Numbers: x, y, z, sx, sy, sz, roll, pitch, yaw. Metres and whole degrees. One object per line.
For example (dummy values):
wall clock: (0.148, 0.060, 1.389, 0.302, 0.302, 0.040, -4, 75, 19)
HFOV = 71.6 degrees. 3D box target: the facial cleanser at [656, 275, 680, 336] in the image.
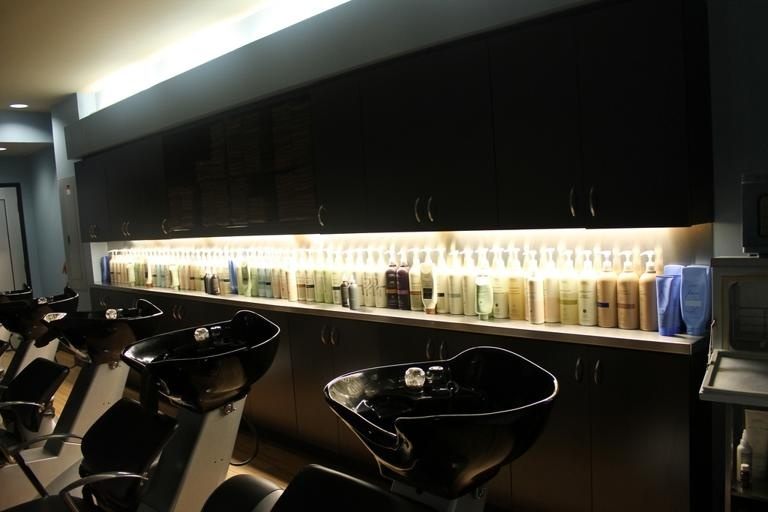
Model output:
facial cleanser: (1.524, 0.262, 2.834, 0.113, 0.314, 0.082, -2, 1, 24)

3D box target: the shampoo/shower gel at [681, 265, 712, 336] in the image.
shampoo/shower gel: (1.645, 0.236, 2.796, 0.148, 0.363, 0.058, -3, 1, 6)

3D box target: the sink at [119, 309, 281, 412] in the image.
sink: (-0.876, 0.519, 2.631, 0.541, 0.333, 0.611, 6, 15, 44)
